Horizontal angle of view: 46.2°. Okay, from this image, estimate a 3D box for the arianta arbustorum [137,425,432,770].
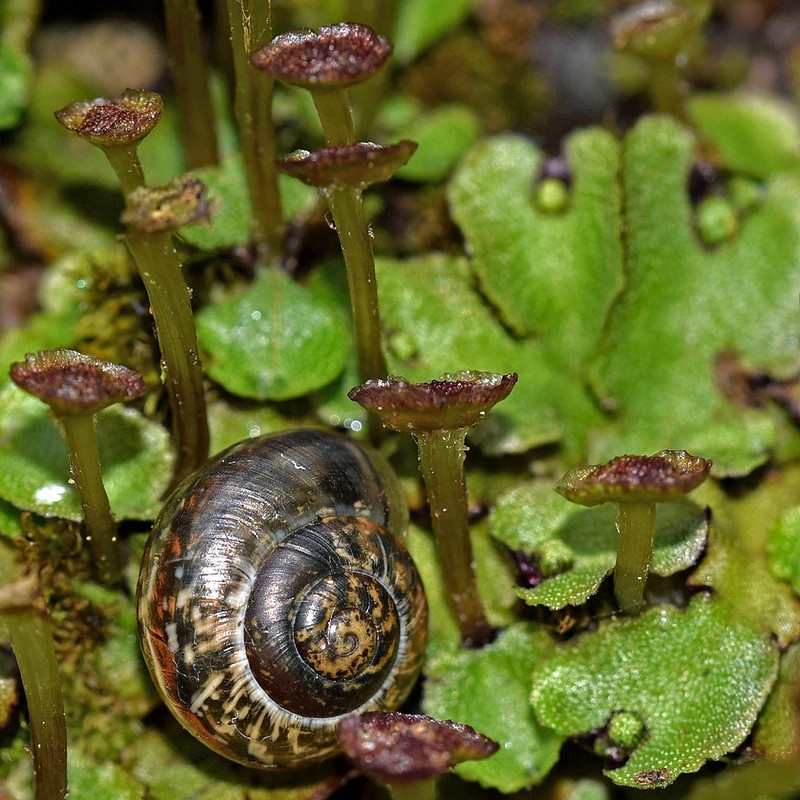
[{"bbox_3d":[-0.116,0.202,0.969,0.302,0.121,0.341,-16,78,-7],"label":"arianta arbustorum"}]
